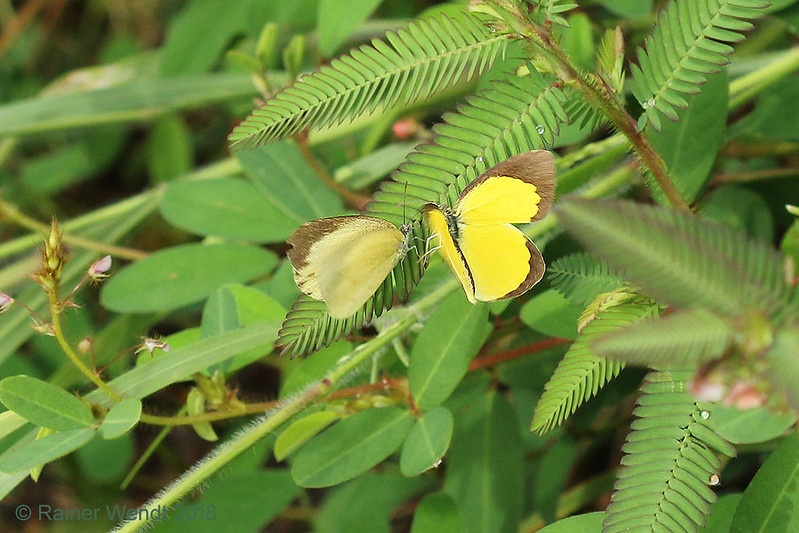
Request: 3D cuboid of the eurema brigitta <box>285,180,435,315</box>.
[{"bbox_3d":[-0.068,-0.005,1.488,0.198,0.136,0.204,-28,38,-18],"label":"eurema brigitta"}]
